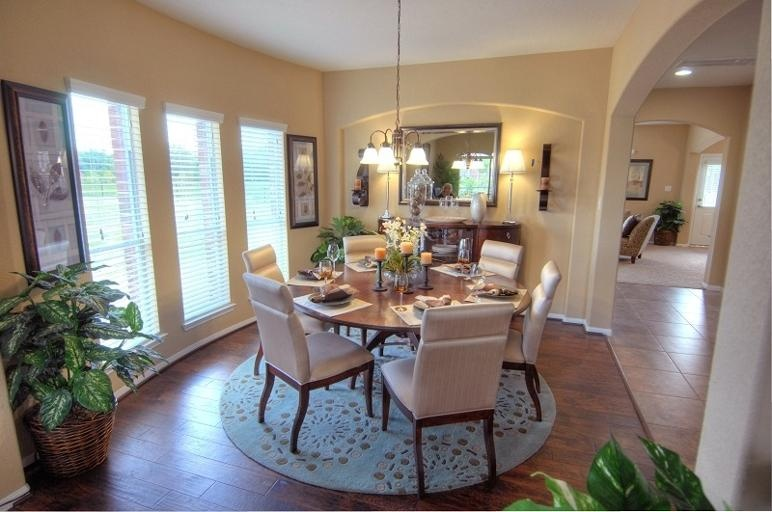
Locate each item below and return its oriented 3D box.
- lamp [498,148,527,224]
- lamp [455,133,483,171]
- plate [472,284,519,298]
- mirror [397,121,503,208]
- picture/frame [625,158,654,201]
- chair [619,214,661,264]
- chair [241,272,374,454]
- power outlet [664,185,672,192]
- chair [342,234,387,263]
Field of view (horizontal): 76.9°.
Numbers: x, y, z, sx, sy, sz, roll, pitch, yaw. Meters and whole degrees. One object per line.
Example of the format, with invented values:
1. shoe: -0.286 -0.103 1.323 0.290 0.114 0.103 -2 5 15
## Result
1. lamp: 1.539 -0.846 5.869 0.285 0.866 0.329 3 13 17
2. lamp: 0.999 -1.297 6.110 0.384 0.494 0.362 0 14 4
3. plate: 0.912 0.303 4.010 0.213 0.038 0.157 8 12 43
4. mirror: 0.832 -1.126 5.844 1.347 1.087 0.088 2 16 11
5. picture/frame: 5.726 -1.703 10.954 0.484 0.932 0.224 4 13 19
6. chair: 4.763 -0.314 9.185 0.579 0.895 0.557 0 12 1
7. chair: -0.624 0.921 4.014 1.010 1.509 0.873 -17 26 -40
8. power outlet: 6.298 -1.500 10.894 0.134 0.130 0.122 3 24 11
9. chair: -0.253 -0.109 5.290 0.327 0.433 0.359 -3 9 -22
